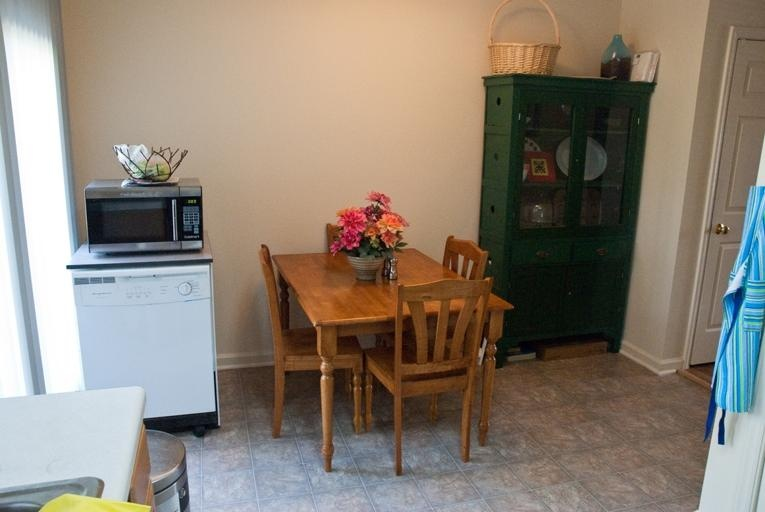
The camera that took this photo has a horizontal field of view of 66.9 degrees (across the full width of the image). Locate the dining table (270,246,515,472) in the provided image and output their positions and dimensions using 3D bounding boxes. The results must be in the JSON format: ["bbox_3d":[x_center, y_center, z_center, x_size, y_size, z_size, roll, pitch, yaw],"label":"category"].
[{"bbox_3d":[0.029,0.954,4.167,1.403,0.936,1.838,-5,18,-21],"label":"dining table"}]

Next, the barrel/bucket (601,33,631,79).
[{"bbox_3d":[1.914,-1.601,4.664,0.243,0.359,0.242,-12,20,5],"label":"barrel/bucket"}]

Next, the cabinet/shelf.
[{"bbox_3d":[1.495,-0.313,4.801,1.306,2.269,0.551,-5,17,-13],"label":"cabinet/shelf"}]

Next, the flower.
[{"bbox_3d":[-0.057,-0.099,3.912,0.494,0.469,0.500,-7,-14,-13],"label":"flower"}]

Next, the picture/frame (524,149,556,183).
[{"bbox_3d":[1.256,-0.708,4.603,0.269,0.230,0.048,-6,17,-20],"label":"picture/frame"}]

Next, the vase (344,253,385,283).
[{"bbox_3d":[-0.104,0.071,3.888,0.204,0.117,0.196,-1,8,-5],"label":"vase"}]

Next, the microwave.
[{"bbox_3d":[-1.493,-0.238,3.643,0.731,0.442,0.486,-4,14,-19],"label":"microwave"}]

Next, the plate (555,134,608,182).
[{"bbox_3d":[1.670,-0.797,4.791,0.391,0.369,0.053,11,3,-19],"label":"plate"}]

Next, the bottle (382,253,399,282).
[{"bbox_3d":[0.047,0.080,3.919,0.065,0.151,0.166,1,12,-10],"label":"bottle"}]
